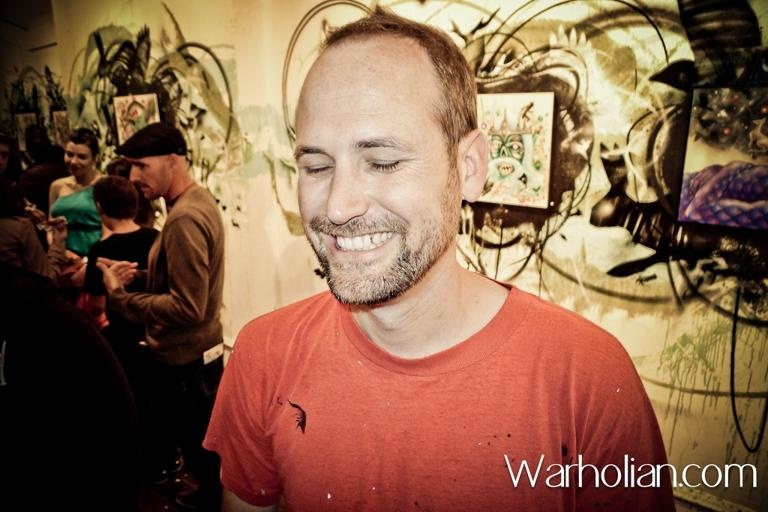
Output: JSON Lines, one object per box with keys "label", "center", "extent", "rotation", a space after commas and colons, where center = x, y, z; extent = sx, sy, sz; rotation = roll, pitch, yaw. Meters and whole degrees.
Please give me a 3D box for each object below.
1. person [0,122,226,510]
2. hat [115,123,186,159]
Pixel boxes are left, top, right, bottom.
{"label": "person", "center": [-1.675, 0.407, 4.584], "extent": [1.208, 2.915, 0.563], "rotation": [5, 9, 33]}
{"label": "hat", "center": [-1.807, -0.964, 4.604], "extent": [0.588, 0.304, 0.406], "rotation": [0, 15, -9]}
